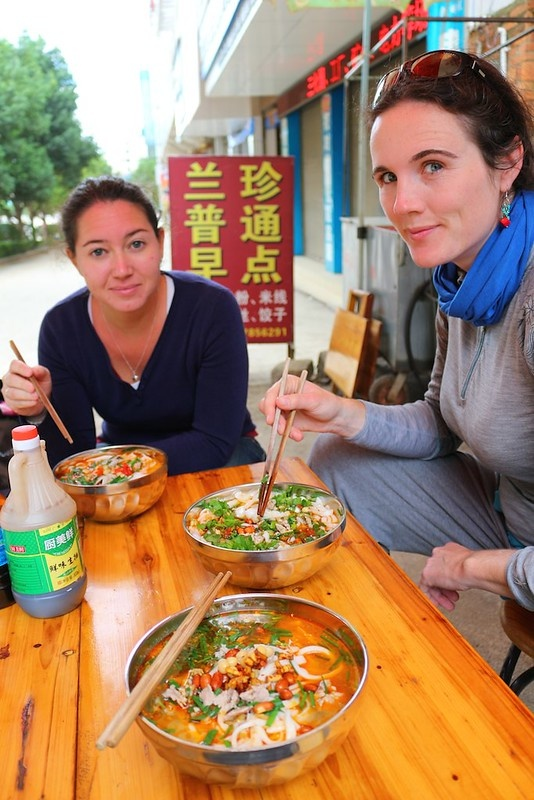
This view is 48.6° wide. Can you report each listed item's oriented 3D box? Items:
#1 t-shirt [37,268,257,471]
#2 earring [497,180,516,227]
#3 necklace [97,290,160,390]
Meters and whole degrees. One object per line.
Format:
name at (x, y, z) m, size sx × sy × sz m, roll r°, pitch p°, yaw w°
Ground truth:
t-shirt at (-0.378, -0.079, 1.846) m, size 0.631 × 0.590 × 0.357 m, roll -5°, pitch 31°, yaw 2°
earring at (0.505, -0.403, 1.247) m, size 0.023 × 0.079 × 0.082 m, roll 5°, pitch 16°, yaw 34°
necklace at (-0.443, -0.196, 1.927) m, size 0.181 × 0.335 × 0.082 m, roll 3°, pitch 11°, yaw 3°
